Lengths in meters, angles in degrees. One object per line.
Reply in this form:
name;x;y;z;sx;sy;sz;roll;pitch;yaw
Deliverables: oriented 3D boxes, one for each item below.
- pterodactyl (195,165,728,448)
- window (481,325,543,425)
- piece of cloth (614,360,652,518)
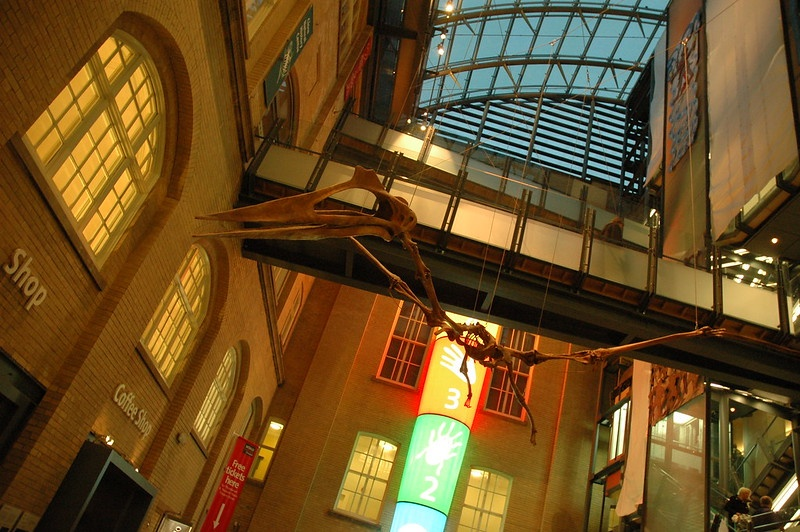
pterodactyl;0.989;0.839;12.352;8.344;4.229;3.755;21;3;1
window;4.285;4.121;25.356;1.725;3.737;0.284;8;21;9
piece of cloth;8.212;5.451;22.882;0.231;4.767;0.972;21;10;12
